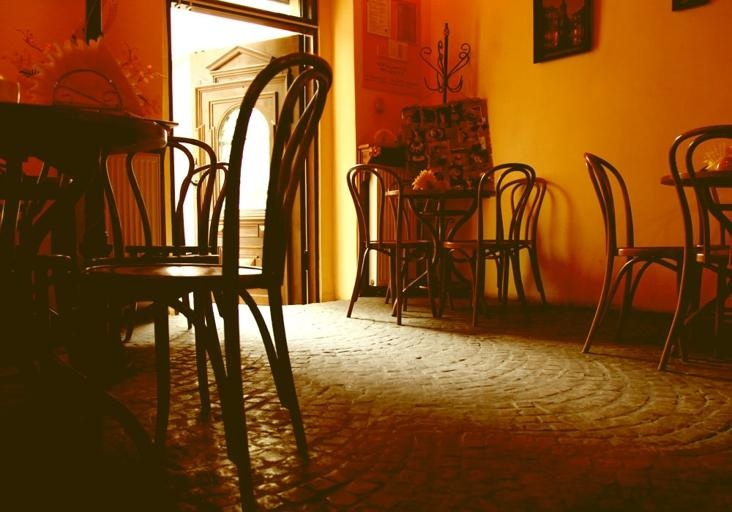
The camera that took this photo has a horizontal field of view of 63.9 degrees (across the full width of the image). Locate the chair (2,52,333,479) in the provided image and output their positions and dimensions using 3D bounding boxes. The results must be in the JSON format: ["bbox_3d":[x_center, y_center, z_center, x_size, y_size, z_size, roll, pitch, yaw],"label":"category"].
[{"bbox_3d":[-0.718,-0.020,2.616,1.411,1.716,1.163,3,1,14],"label":"chair"}]
